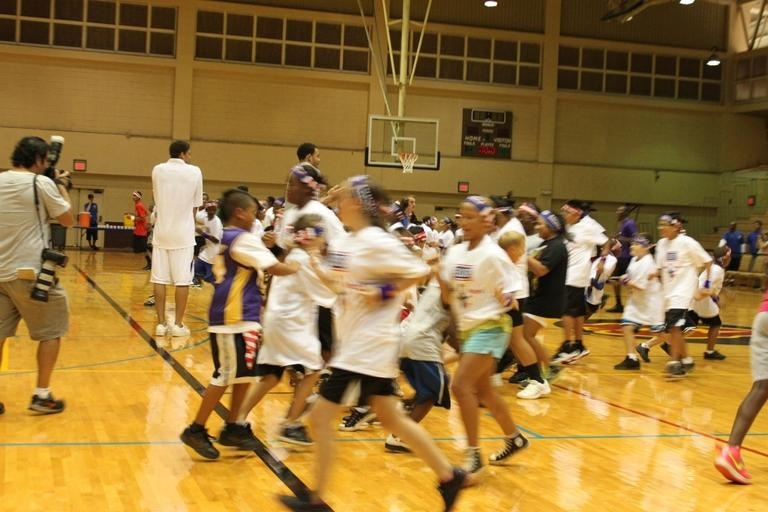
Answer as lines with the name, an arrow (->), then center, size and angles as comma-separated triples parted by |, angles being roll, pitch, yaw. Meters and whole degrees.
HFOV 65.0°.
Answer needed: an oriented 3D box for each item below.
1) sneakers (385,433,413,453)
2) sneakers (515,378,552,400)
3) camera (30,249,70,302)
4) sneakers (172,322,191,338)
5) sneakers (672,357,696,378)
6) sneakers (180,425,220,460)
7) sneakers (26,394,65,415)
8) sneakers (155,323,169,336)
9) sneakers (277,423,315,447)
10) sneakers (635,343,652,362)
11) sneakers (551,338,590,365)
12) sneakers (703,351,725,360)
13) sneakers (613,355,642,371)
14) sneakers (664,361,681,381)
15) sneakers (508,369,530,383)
sneakers -> 0.087, 1.566, 5.098 | 0.259, 0.144, 0.122 | 4, 6, 34
sneakers -> 1.672, 1.466, 6.700 | 0.390, 0.160, 0.181 | -2, -3, -21
camera -> -2.861, 0.158, 5.225 | 0.241, 0.445, 0.302 | 0, 5, -5
sneakers -> -2.880, 1.049, 8.635 | 0.143, 0.148, 0.354 | 3, 3, 20
sneakers -> 3.927, 1.453, 7.941 | 0.524, 0.171, 0.212 | 7, 42, -44
sneakers -> -1.447, 1.474, 4.755 | 0.286, 0.142, 0.116 | 38, 16, -8
sneakers -> -2.974, 1.319, 5.358 | 0.373, 0.166, 0.130 | 5, 9, -32
sneakers -> -3.143, 1.035, 8.593 | 0.118, 0.125, 0.306 | 1, 2, 1
sneakers -> -0.724, 1.493, 5.072 | 0.284, 0.120, 0.144 | 3, 2, 14
sneakers -> 3.820, 1.425, 8.887 | 0.164, 0.339, 0.124 | -29, 17, 9
sneakers -> 2.600, 1.341, 8.434 | 0.510, 0.220, 0.180 | -24, 13, 7
sneakers -> 4.939, 1.493, 9.110 | 0.336, 0.128, 0.127 | 1, 6, -10
sneakers -> 3.299, 1.463, 8.244 | 0.365, 0.162, 0.175 | 0, -1, -6
sneakers -> 3.754, 1.491, 7.911 | 0.267, 0.232, 0.150 | 0, -5, -11
sneakers -> 1.642, 1.471, 7.339 | 0.258, 0.100, 0.106 | 0, -6, -27
